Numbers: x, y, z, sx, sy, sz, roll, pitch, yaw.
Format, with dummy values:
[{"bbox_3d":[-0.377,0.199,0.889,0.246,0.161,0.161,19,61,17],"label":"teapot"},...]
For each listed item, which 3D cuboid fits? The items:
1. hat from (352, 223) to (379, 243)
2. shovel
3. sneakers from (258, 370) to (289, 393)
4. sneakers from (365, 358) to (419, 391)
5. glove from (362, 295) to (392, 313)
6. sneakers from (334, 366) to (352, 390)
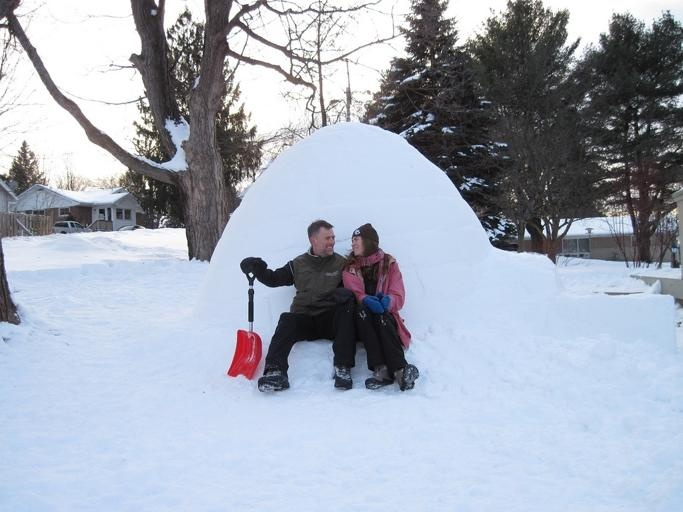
[{"bbox_3d":[0.242,-0.222,6.724,0.235,0.182,0.183,15,-7,-4],"label":"hat"},{"bbox_3d":[-0.961,0.772,6.483,0.325,0.799,0.496,3,10,4],"label":"shovel"},{"bbox_3d":[-0.651,1.192,6.074,0.281,0.169,0.133,-2,4,-12],"label":"sneakers"},{"bbox_3d":[0.425,1.181,6.206,0.605,0.277,0.221,5,-44,-3],"label":"sneakers"},{"bbox_3d":[0.344,0.448,6.331,0.208,0.079,0.165,13,16,38],"label":"glove"},{"bbox_3d":[0.018,1.166,6.237,0.185,0.200,0.229,2,10,-1],"label":"sneakers"}]
